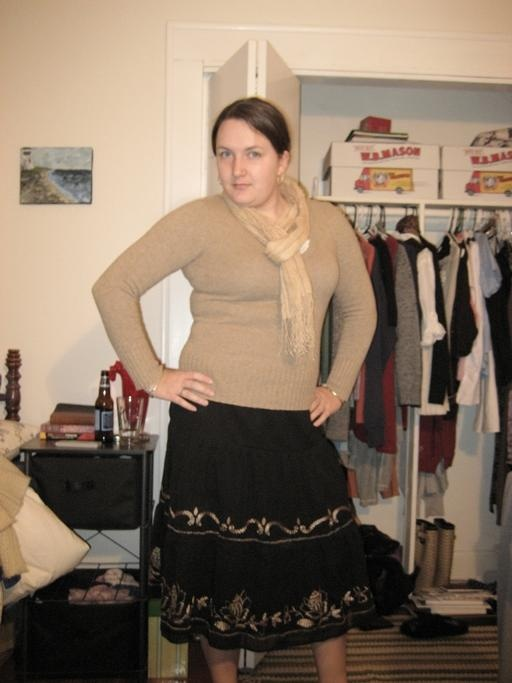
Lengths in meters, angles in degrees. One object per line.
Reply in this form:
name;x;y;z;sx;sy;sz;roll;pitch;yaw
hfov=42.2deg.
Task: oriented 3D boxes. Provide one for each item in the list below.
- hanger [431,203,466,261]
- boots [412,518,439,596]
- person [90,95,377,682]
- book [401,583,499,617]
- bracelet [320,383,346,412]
hanger;0.891;-0.496;3.011;0.109;0.242;0.242;2;7;15
boots;0.815;1.028;3.145;0.104;0.324;0.237;6;-19;-9
person;-0.046;0.121;1.707;0.723;1.445;0.382;1;7;4
book;0.894;1.146;2.930;0.398;0.056;0.241;-3;8;-27
bracelet;0.191;0.145;1.720;0.065;0.064;0.023;-42;9;-36
